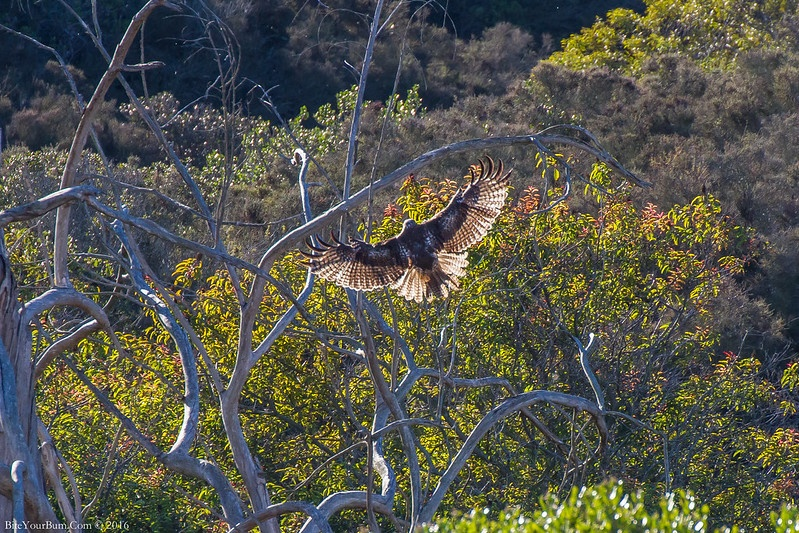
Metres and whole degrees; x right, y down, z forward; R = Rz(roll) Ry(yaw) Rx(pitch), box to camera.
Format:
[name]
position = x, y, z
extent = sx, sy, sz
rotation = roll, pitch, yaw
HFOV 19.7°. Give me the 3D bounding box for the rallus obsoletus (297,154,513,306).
[rallus obsoletus]
position = 0.289, -0.329, 47.658
extent = 4.827, 2.114, 2.041
rotation = -24, -17, 3
